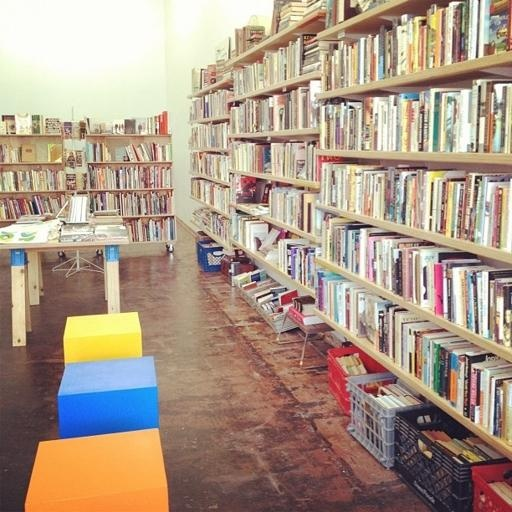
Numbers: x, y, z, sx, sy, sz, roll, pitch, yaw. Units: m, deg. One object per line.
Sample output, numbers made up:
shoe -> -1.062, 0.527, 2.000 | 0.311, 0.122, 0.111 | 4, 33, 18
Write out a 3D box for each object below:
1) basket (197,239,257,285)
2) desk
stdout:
basket -> -0.384, 0.060, 6.425 | 0.576, 0.249, 0.685 | -1, 10, -25
desk -> -1.811, 0.088, 4.614 | 1.591, 0.774, 1.355 | -2, 5, -22
